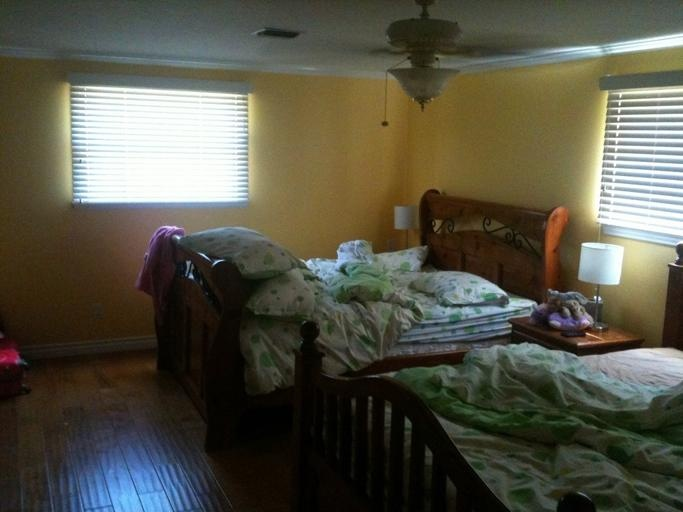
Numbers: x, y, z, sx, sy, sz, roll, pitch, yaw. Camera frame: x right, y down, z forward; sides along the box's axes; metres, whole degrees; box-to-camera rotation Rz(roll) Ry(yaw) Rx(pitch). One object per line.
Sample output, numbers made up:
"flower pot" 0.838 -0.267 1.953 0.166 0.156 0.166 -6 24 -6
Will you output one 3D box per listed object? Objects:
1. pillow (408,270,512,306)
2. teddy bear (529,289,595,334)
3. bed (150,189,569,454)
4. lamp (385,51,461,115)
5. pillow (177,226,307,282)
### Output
"pillow" 0.910 0.256 4.377 0.300 0.128 0.488 -4 12 -15
"teddy bear" 1.534 0.392 3.781 0.260 0.155 0.372 9 14 35
"bed" 0.134 0.234 4.565 2.859 1.574 2.207 -2 9 -27
"lamp" 0.470 -1.030 3.191 0.413 0.298 0.434 -12 21 -18
"pillow" -0.669 -0.047 3.626 0.527 0.149 0.463 29 9 36
